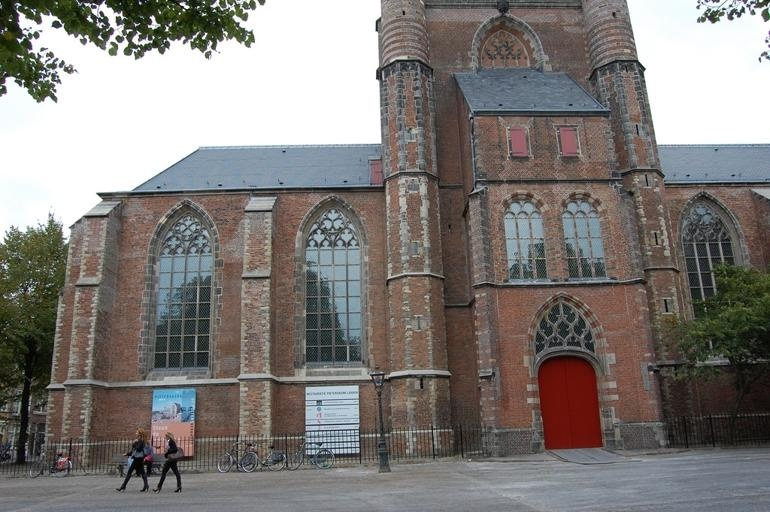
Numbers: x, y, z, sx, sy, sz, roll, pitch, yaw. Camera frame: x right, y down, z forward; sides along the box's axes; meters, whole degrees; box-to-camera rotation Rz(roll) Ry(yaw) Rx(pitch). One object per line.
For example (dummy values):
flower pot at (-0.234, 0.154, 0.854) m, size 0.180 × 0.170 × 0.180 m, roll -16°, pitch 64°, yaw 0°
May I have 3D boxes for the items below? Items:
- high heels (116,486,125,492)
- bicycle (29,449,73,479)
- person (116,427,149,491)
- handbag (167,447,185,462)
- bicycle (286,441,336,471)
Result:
high heels at (-9.917, 8.742, 25.575) m, size 0.238 × 0.162 × 0.454 m, roll 3°, pitch -15°, yaw -21°
bicycle at (-15.693, 9.893, 32.292) m, size 2.326 × 1.212 × 1.045 m, roll 3°, pitch -26°, yaw -6°
person at (-9.712, 7.899, 26.229) m, size 1.187 × 2.224 × 1.040 m, roll 18°, pitch -36°, yaw -39°
handbag at (-7.857, 7.429, 25.548) m, size 0.604 × 0.460 × 0.471 m, roll 6°, pitch -18°, yaw -31°
bicycle at (-3.551, 9.570, 32.495) m, size 2.541 × 1.298 × 1.162 m, roll -8°, pitch -24°, yaw 12°
